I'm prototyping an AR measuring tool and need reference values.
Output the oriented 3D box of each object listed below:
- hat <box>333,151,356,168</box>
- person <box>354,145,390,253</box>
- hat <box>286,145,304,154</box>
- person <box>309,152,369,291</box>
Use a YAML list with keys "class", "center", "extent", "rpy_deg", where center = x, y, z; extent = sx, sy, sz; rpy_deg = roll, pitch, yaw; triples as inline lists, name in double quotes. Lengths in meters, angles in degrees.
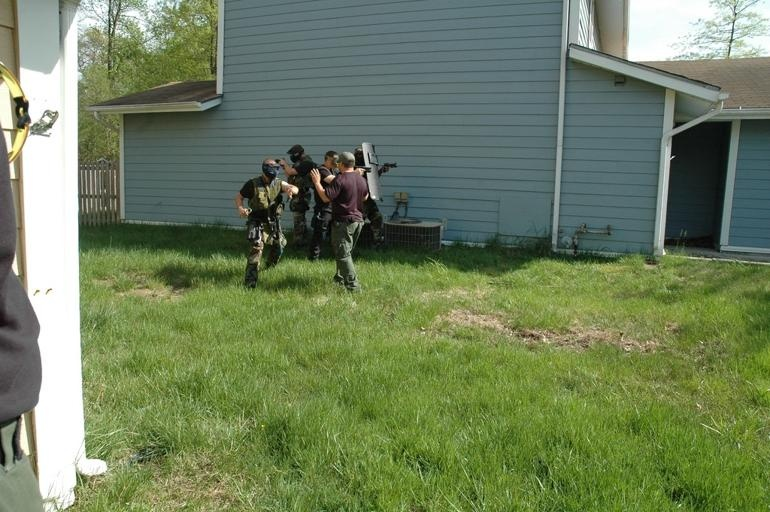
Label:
- class: "hat"
  center: [-0.607, -1.509, 10.611]
  extent: [0.259, 0.200, 0.363]
  rpy_deg: [-2, 16, -16]
- class: "person"
  center: [-0.229, -1.268, 13.958]
  extent: [0.713, 2.048, 0.688]
  rpy_deg: [-9, 13, -28]
- class: "hat"
  center: [-1.750, -2.115, 13.373]
  extent: [0.232, 0.176, 0.461]
  rpy_deg: [3, 7, -12]
- class: "person"
  center: [-0.643, -0.553, 10.676]
  extent: [0.779, 2.109, 0.845]
  rpy_deg: [6, 10, 43]
